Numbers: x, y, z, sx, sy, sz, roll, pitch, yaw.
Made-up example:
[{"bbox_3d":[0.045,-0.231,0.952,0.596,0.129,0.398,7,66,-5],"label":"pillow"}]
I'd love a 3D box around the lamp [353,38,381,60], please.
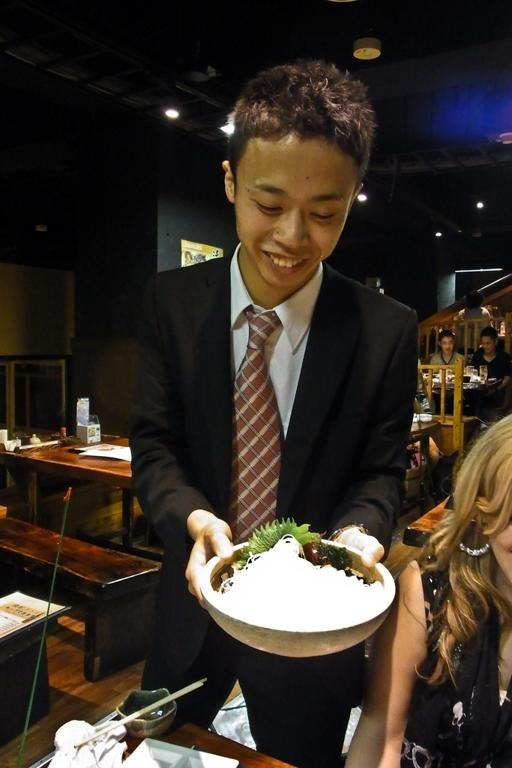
[{"bbox_3d":[0.608,-1.823,2.999,0.140,0.062,0.226,3,5,13],"label":"lamp"}]

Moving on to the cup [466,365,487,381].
[{"bbox_3d":[3.041,-0.144,7.642,0.227,0.185,0.223,-2,5,0],"label":"cup"}]

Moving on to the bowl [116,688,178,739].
[{"bbox_3d":[-0.190,0.546,0.957,0.077,0.050,0.091,1,-7,-3],"label":"bowl"}]

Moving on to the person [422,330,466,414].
[{"bbox_3d":[2.424,-0.291,7.700,0.757,0.952,0.503,-1,-4,7],"label":"person"}]

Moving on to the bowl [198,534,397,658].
[{"bbox_3d":[0.051,0.253,0.666,0.238,0.061,0.277,1,5,-6],"label":"bowl"}]
